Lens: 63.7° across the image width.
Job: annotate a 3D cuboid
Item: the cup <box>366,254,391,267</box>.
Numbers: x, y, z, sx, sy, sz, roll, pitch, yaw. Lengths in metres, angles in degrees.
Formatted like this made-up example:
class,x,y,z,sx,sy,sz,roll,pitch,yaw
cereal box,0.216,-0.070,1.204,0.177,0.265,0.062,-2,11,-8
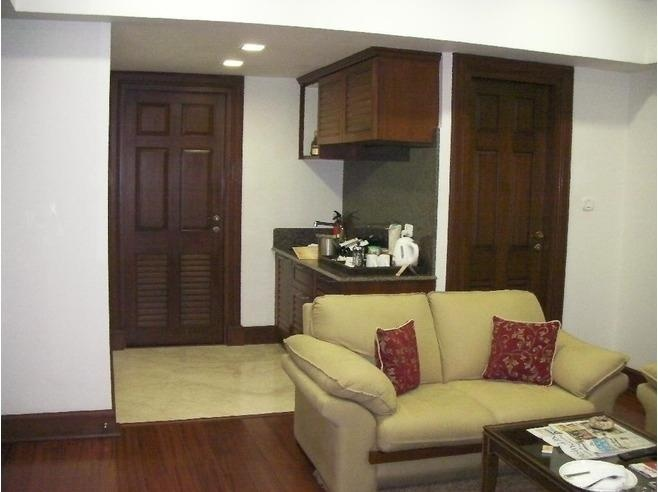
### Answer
class,x,y,z,sx,sy,sz,roll,pitch,yaw
cup,0.405,0.115,4.341,0.096,0.111,0.164,1,3,-19

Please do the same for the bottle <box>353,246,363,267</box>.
class,x,y,z,sx,sy,sz,roll,pitch,yaw
bottle,0.249,0.078,4.361,0.108,0.159,0.115,1,8,0

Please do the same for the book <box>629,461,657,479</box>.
class,x,y,z,sx,sy,sz,roll,pitch,yaw
book,1.428,1.007,2.394,0.068,0.018,0.067,0,5,-15

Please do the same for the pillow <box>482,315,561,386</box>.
class,x,y,z,sx,sy,sz,roll,pitch,yaw
pillow,1.232,0.668,3.380,0.424,0.406,0.130,4,-11,20

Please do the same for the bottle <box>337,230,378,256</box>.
class,x,y,z,sx,sy,sz,roll,pitch,yaw
bottle,0.245,-0.023,4.661,0.226,0.114,0.309,-12,2,-4

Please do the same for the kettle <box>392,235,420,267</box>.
class,x,y,z,sx,sy,sz,roll,pitch,yaw
kettle,0.622,0.044,4.294,0.195,0.231,0.127,1,9,2

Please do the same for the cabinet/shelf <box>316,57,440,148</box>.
class,x,y,z,sx,sy,sz,roll,pitch,yaw
cabinet/shelf,0.348,-1.259,4.709,0.556,0.705,1.404,-3,10,-21

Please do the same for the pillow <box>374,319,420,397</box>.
class,x,y,z,sx,sy,sz,roll,pitch,yaw
pillow,0.392,0.668,3.103,0.412,0.472,0.170,0,-8,-43
